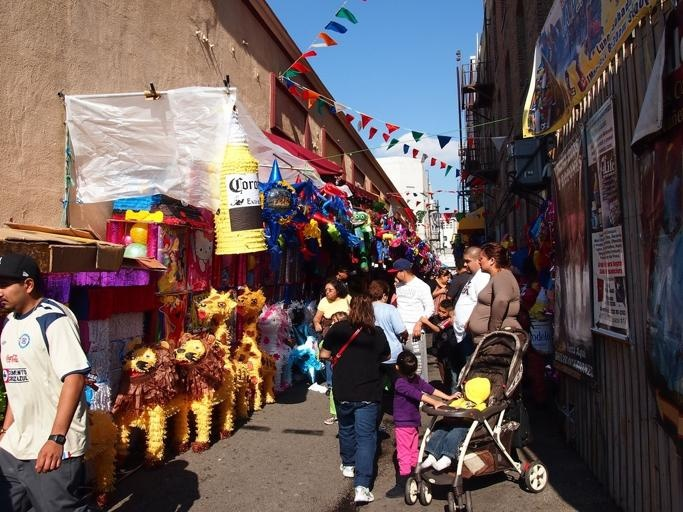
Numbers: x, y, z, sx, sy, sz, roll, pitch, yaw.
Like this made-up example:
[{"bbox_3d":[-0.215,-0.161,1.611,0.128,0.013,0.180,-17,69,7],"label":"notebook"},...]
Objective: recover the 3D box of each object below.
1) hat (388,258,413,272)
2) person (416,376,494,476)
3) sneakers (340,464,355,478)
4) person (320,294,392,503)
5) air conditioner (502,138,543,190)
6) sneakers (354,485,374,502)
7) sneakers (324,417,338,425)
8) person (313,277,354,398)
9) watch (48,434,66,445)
[{"bbox_3d":[0.832,0.136,9.616,0.260,0.140,0.192,1,1,6],"label":"hat"},{"bbox_3d":[1.184,1.707,6.887,0.530,0.847,0.747,2,2,30],"label":"person"},{"bbox_3d":[0.065,2.314,7.341,0.078,0.080,0.186,2,3,-1],"label":"sneakers"},{"bbox_3d":[0.208,1.407,7.040,0.601,1.973,0.705,-1,2,-37],"label":"person"},{"bbox_3d":[3.142,-1.596,11.627,0.680,0.781,0.707,-2,5,26],"label":"air conditioner"},{"bbox_3d":[0.213,2.350,6.727,0.105,0.117,0.253,-4,-3,13],"label":"sneakers"},{"bbox_3d":[-0.141,2.202,9.115,0.073,0.096,0.208,-5,-18,39],"label":"sneakers"},{"bbox_3d":[-0.146,1.187,9.908,0.557,1.650,0.636,5,13,11],"label":"person"},{"bbox_3d":[-2.129,1.371,5.133,0.110,0.074,0.110,19,-17,-1],"label":"watch"}]
